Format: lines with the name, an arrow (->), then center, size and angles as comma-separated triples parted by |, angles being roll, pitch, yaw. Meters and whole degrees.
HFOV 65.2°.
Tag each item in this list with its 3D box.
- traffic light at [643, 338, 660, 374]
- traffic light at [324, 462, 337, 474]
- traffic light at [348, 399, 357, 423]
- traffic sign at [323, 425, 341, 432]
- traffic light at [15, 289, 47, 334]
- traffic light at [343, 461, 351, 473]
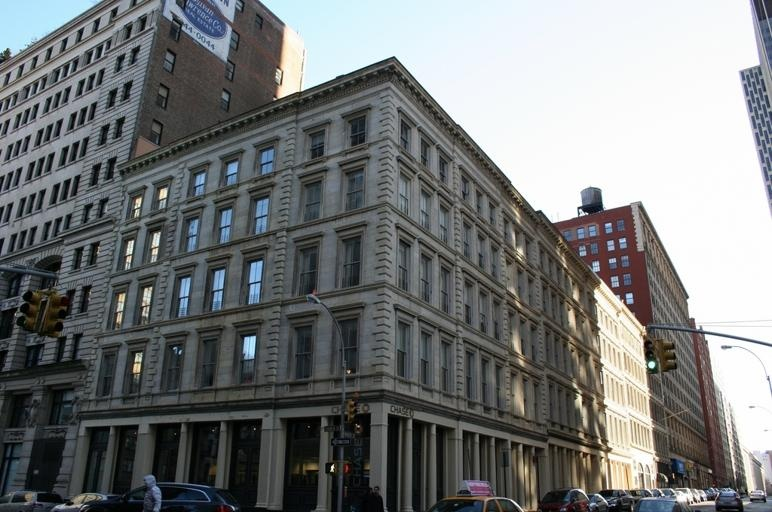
traffic light -> 14.807, 5.497, 33.509 | 0.670, 1.879, 0.906 | -10, -29, 21
traffic light -> -3.374, 13.020, 37.079 | 0.909, 0.856, 0.627 | -2, -16, 7
traffic light -> -2.164, 9.682, 37.737 | 0.446, 1.233, 0.604 | 3, -27, -3
traffic sign -> -3.449, 10.875, 38.003 | 0.991, 0.454, 1.131 | 4, -26, -6
traffic light -> -16.692, 2.486, 28.434 | 1.072, 2.130, 1.394 | 16, -30, -28
traffic light -> -2.399, 13.199, 37.519 | 0.388, 0.633, 0.644 | 3, -26, -3
